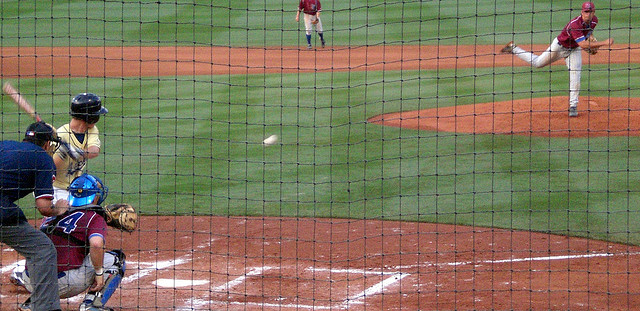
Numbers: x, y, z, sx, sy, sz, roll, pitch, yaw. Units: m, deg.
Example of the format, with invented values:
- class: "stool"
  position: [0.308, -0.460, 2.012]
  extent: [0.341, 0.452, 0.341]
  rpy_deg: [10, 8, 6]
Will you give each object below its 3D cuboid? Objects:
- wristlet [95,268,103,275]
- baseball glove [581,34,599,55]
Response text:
- class: "wristlet"
  position: [-6.283, 3.305, 35.168]
  extent: [0.242, 0.123, 0.175]
  rpy_deg: [3, 6, 8]
- class: "baseball glove"
  position: [8.797, -3.656, 40.358]
  extent: [0.337, 0.539, 0.557]
  rpy_deg: [11, 13, 14]
